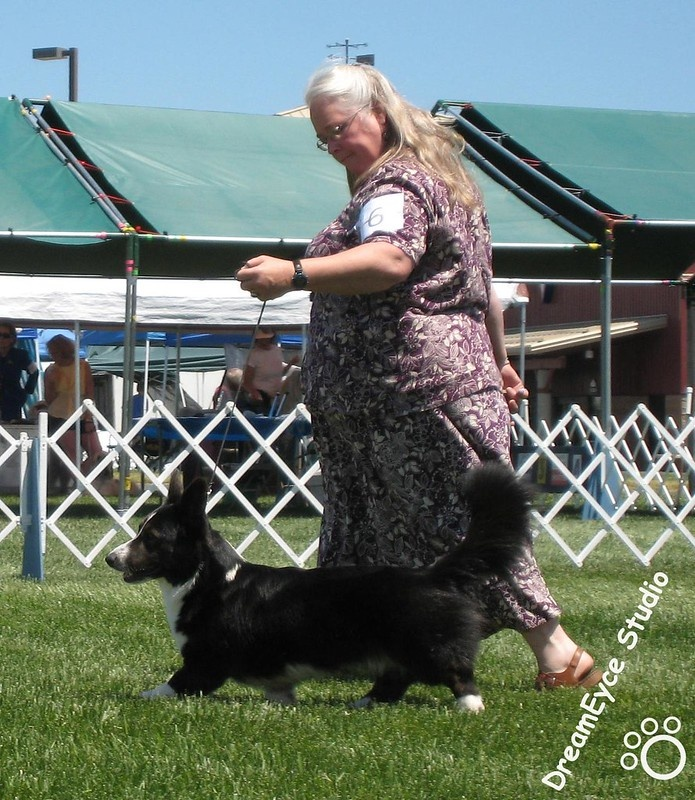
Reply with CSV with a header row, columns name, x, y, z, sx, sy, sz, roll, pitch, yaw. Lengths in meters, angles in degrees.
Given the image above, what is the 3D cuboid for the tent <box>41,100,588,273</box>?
name,x,y,z,sx,sy,sz,roll,pitch,yaw
tent,-0.462,-1.575,11.470,2.713,0.826,1.887,1,1,-27

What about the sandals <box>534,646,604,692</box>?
name,x,y,z,sx,sy,sz,roll,pitch,yaw
sandals,0.794,0.960,5.699,0.255,0.091,0.115,-12,2,-18

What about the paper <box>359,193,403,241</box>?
name,x,y,z,sx,sy,sz,roll,pitch,yaw
paper,0.101,-0.597,5.334,0.161,0.153,0.160,2,-11,-13

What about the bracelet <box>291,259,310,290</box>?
name,x,y,z,sx,sy,sz,roll,pitch,yaw
bracelet,-0.152,-0.409,5.229,0.068,0.086,0.094,-4,-34,-2

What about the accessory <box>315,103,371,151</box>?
name,x,y,z,sx,sy,sz,roll,pitch,yaw
accessory,0.011,-0.926,5.514,0.046,0.154,0.151,51,-19,-11

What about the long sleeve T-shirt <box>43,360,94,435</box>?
name,x,y,z,sx,sy,sz,roll,pitch,yaw
long sleeve T-shirt,-2.299,-0.034,13.219,0.429,0.488,0.275,2,-5,-19
